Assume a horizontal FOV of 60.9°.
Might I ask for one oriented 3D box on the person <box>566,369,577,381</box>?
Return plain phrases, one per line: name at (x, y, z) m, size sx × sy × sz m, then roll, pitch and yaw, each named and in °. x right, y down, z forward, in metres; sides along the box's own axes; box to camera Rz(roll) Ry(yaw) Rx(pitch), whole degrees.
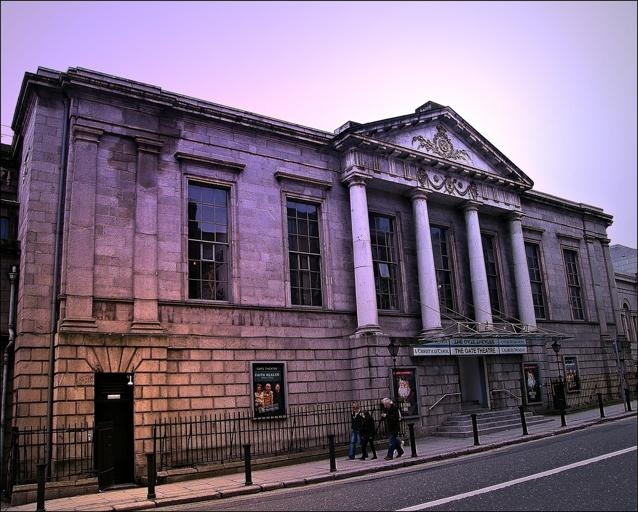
person at (15.783, 7.459, 33.972) m, size 0.703 × 0.789 × 0.410 m, roll -3°, pitch -6°, yaw -39°
